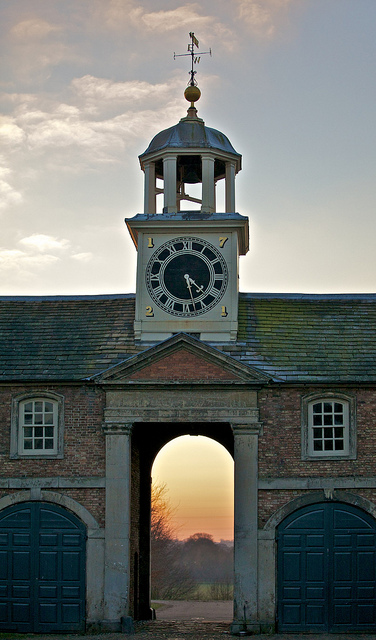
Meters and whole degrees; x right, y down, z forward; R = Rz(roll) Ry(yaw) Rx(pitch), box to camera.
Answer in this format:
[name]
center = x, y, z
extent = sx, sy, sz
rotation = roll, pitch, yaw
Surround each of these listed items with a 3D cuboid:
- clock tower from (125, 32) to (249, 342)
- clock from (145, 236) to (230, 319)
[clock tower]
center = 0.102, -3.304, 38.740
extent = 3.367, 9.906, 3.391
rotation = -5, -25, 14
[clock]
center = 0.034, -0.968, 36.383
extent = 1.689, 2.017, 0.143
rotation = -3, -10, 4
